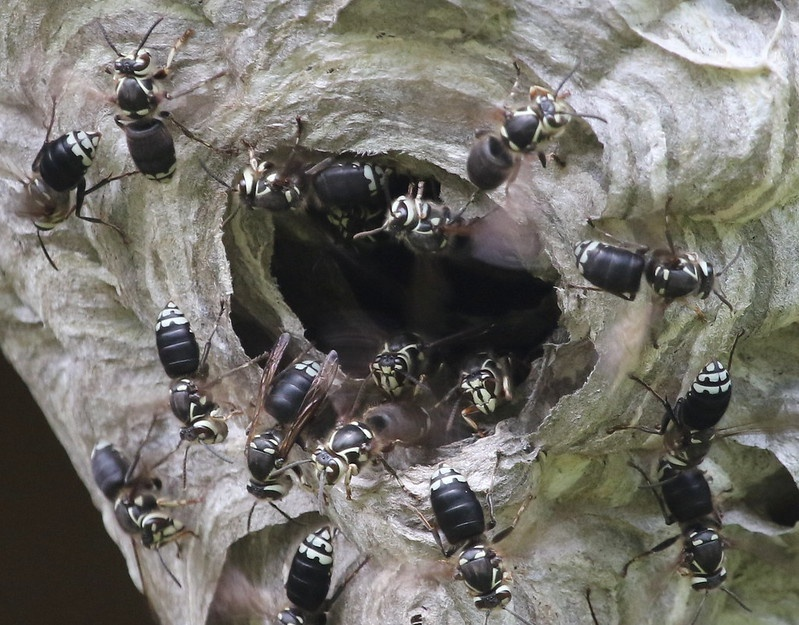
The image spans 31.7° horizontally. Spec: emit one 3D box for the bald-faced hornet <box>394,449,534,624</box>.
[{"bbox_3d":[0.247,0.811,5.101,0.444,0.612,0.204,3,18,3],"label":"bald-faced hornet"}]
